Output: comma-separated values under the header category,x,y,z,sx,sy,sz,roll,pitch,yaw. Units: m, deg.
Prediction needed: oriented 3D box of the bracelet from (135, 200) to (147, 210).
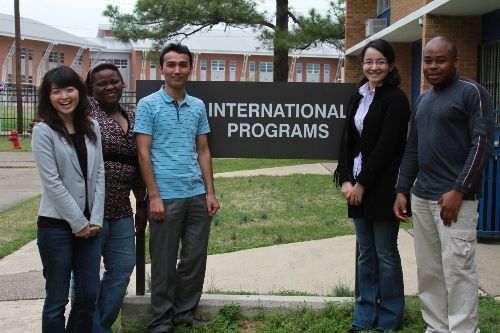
category,x,y,z,sx,sy,sz,roll,pitch,yaw
bracelet,-1.117,0.390,5.089,0.090,0.043,0.118,1,6,3

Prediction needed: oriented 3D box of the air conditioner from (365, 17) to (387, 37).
category,x,y,z,sx,sy,sz,roll,pitch,yaw
air conditioner,4.421,-4.962,17.390,0.697,0.651,0.690,2,8,17
